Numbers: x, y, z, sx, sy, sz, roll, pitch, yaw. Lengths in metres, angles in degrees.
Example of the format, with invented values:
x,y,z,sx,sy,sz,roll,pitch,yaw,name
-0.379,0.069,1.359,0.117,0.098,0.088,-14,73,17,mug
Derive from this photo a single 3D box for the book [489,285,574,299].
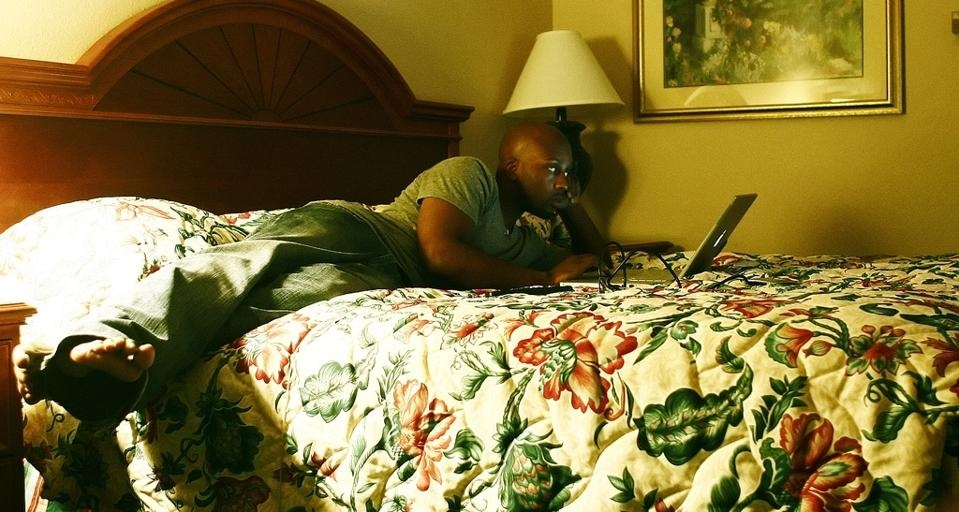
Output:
x,y,z,sx,sy,sz,roll,pitch,yaw,name
0.163,0.107,2.021,0.158,0.020,0.028,1,59,-5,book

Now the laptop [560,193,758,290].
x,y,z,sx,sy,sz,roll,pitch,yaw,name
0.607,0.007,2.300,0.485,0.256,0.481,14,8,27,laptop

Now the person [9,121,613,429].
x,y,z,sx,sy,sz,roll,pitch,yaw,name
-0.408,-0.051,2.092,0.878,0.540,1.461,1,0,36,person
